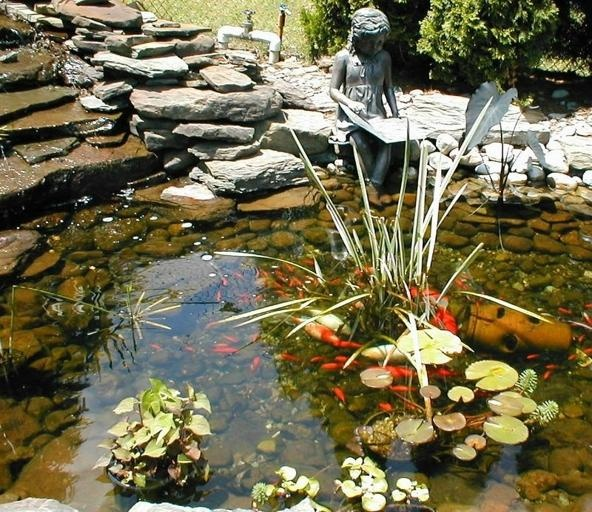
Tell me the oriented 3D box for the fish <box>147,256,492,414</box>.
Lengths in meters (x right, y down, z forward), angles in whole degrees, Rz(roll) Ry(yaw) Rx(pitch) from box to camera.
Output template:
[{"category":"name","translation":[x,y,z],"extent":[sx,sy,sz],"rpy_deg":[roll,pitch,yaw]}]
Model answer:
[{"category":"fish","translation":[0.265,0.451,2.976],"extent":[1.184,0.373,0.924],"rpy_deg":[5,23,12]}]
